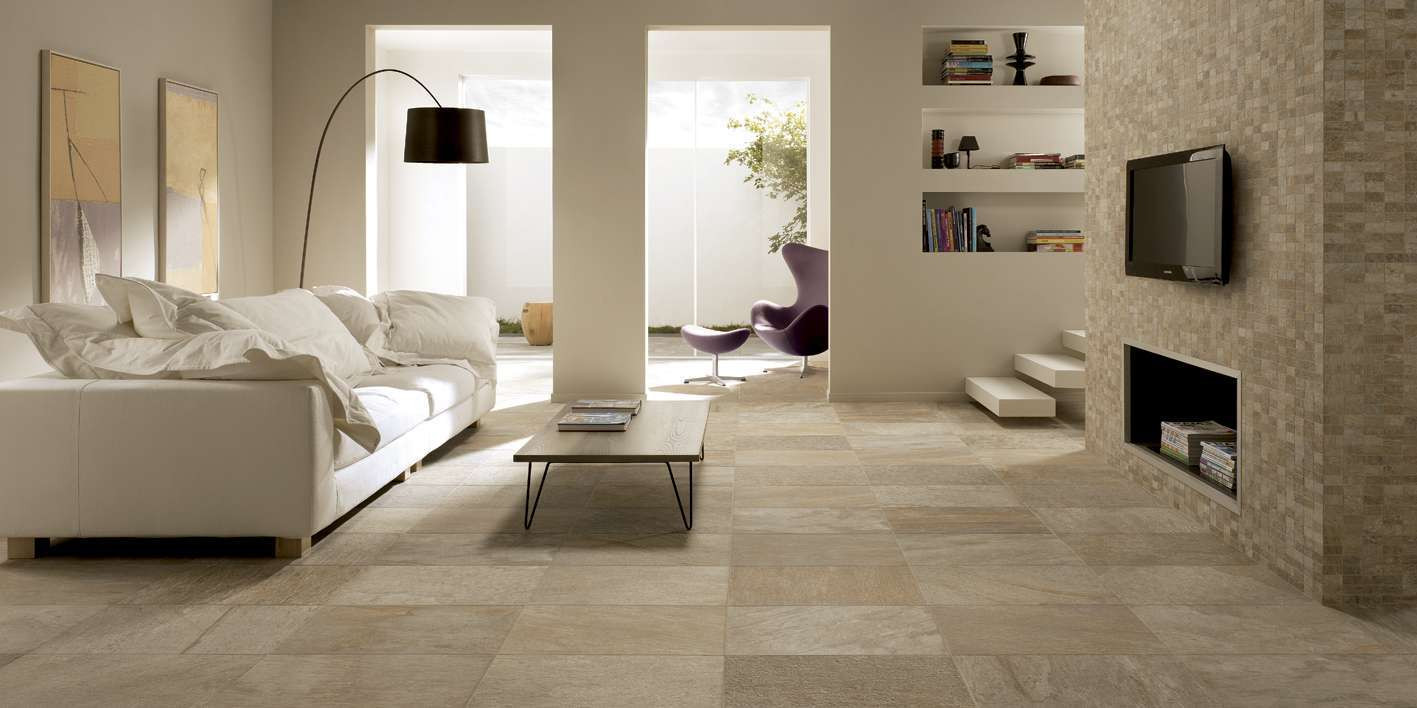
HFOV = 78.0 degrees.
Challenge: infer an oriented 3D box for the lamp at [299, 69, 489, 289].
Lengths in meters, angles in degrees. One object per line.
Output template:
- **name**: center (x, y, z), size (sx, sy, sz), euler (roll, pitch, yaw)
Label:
- **lamp**: center (-2.928, -1.632, 8.194), size (1.915, 2.093, 0.910), euler (9, 16, 29)

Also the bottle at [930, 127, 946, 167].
- **bottle**: center (2.232, -2.012, 8.552), size (0.145, 0.382, 0.219), euler (3, 14, 7)

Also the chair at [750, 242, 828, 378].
- **chair**: center (0.896, -0.496, 9.762), size (0.815, 1.434, 1.025), euler (2, 13, 2)

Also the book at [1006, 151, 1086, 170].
- **book**: center (3.257, -1.884, 8.500), size (0.698, 0.162, 0.317), euler (3, 11, 12)

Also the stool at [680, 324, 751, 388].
- **stool**: center (0.103, -0.007, 9.538), size (0.977, 0.515, 0.495), euler (-1, -2, 23)

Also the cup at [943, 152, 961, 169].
- **cup**: center (2.351, -1.878, 8.491), size (0.201, 0.109, 0.156), euler (-2, 9, 0)

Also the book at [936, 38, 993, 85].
- **book**: center (2.460, -2.806, 8.508), size (0.551, 0.363, 0.467), euler (1, 8, 10)

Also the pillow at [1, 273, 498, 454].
- **pillow**: center (-2.909, -0.071, 6.351), size (1.706, 0.678, 2.105), euler (3, 6, 11)

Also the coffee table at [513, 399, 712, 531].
- **coffee table**: center (-0.663, 0.746, 6.081), size (1.236, 0.626, 1.169), euler (1, 11, 1)

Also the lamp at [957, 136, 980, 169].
- **lamp**: center (2.523, -1.987, 8.524), size (0.199, 0.308, 0.239), euler (5, 13, 13)
